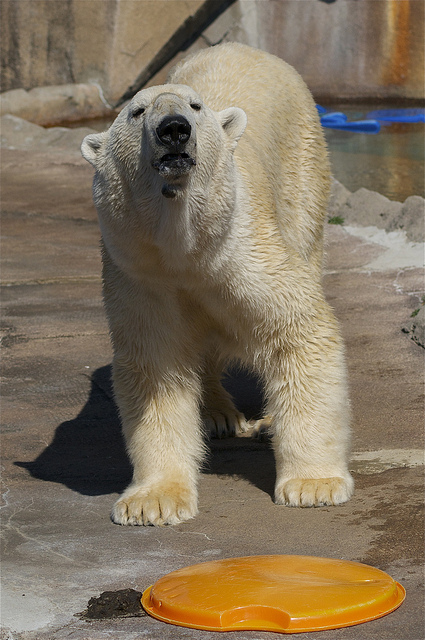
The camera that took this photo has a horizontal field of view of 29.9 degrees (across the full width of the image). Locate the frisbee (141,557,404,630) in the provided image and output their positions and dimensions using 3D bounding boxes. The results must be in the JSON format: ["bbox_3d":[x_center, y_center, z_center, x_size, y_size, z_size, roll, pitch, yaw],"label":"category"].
[{"bbox_3d":[0.118,0.552,1.634,0.528,0.035,0.499,-3,-4,23],"label":"frisbee"}]

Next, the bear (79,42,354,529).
[{"bbox_3d":[0.013,-0.208,2.363,0.701,1.431,1.308,-4,7,7],"label":"bear"}]
